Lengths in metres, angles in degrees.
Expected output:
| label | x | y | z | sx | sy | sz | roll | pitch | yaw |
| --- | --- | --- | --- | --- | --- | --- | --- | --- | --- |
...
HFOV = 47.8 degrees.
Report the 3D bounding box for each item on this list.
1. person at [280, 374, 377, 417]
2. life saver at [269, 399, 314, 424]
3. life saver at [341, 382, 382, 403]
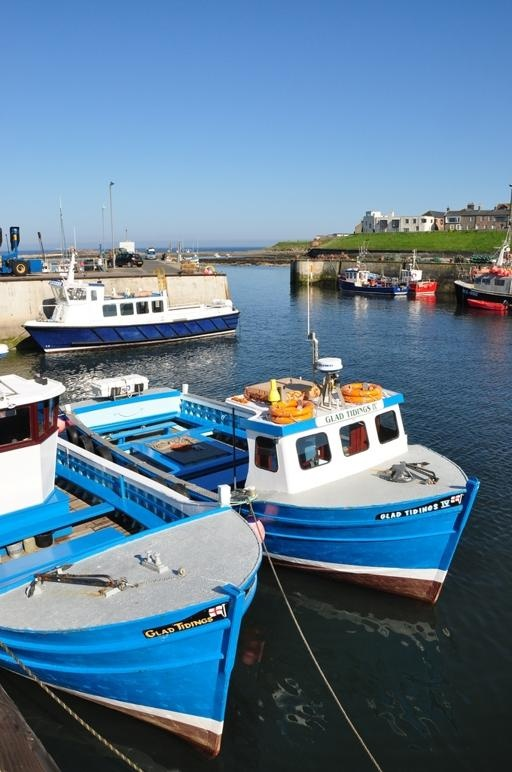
| label | x | y | z | sx | sy | sz | roll | pitch | yaw |
| --- | --- | --- | --- | --- | --- | --- | --- | --- | --- |
| person | 1.343 | 0.150 | 10.749 | 1.027 | 0.397 | 0.984 | 8 | 12 | 40 |
| life saver | 0.638 | 0.448 | 9.835 | 0.505 | 0.210 | 0.489 | -6 | 4 | -33 |
| life saver | 1.996 | 0.148 | 10.658 | 0.467 | 0.226 | 0.501 | 7 | 15 | 43 |
